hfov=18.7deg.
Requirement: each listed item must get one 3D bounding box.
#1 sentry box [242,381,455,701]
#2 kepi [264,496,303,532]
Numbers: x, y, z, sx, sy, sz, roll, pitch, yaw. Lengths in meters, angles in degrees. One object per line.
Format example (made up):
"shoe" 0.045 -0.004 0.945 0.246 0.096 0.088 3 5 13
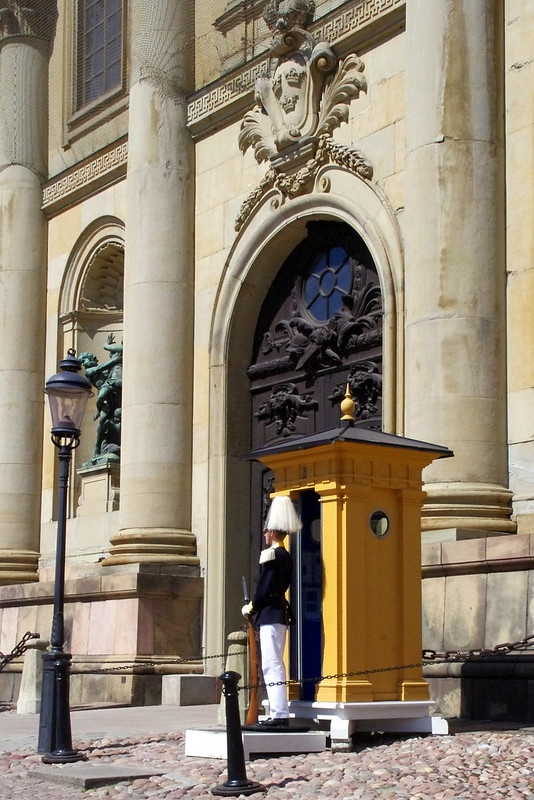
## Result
"sentry box" 0.749 1.401 14.059 1.672 2.617 1.493 0 -4 -41
"kepi" 0.138 0.960 13.767 0.278 0.285 0.277 -3 -4 14
